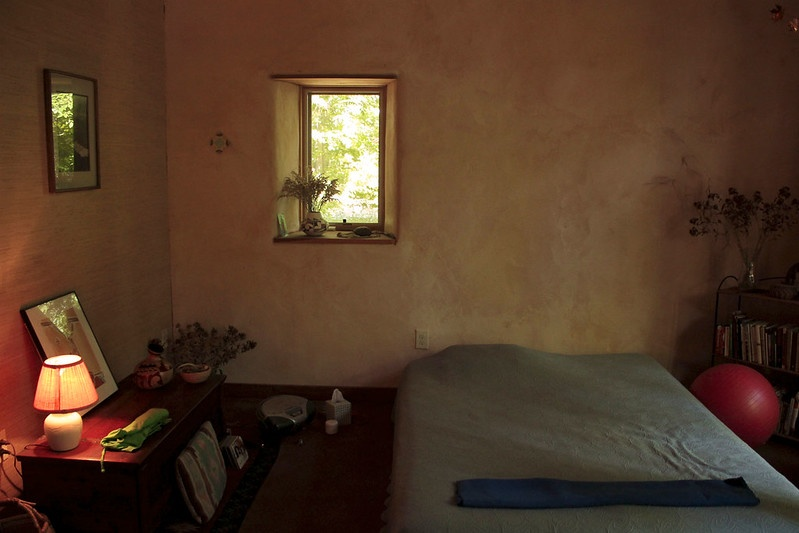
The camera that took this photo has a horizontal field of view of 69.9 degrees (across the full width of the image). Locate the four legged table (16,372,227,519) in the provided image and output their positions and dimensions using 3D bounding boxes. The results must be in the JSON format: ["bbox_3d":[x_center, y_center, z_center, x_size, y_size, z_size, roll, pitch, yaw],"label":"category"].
[{"bbox_3d":[-1.571,0.775,3.218,0.589,0.549,1.149,2,8,4],"label":"four legged table"}]

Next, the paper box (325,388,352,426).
[{"bbox_3d":[-0.457,1.063,4.324,0.204,0.244,0.233,-1,8,-7],"label":"paper box"}]

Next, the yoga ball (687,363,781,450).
[{"bbox_3d":[2.311,0.966,4.112,0.586,0.656,0.574,7,-10,1],"label":"yoga ball"}]

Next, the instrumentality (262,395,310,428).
[{"bbox_3d":[-0.848,1.079,4.188,0.343,0.179,0.260,-6,10,-36],"label":"instrumentality"}]

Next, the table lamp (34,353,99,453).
[{"bbox_3d":[-1.784,0.735,3.040,0.236,0.482,0.251,8,11,42],"label":"table lamp"}]

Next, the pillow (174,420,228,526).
[{"bbox_3d":[-1.159,1.257,3.389,0.099,0.400,0.400,-11,17,15],"label":"pillow"}]

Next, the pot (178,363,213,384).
[{"bbox_3d":[-1.336,0.686,3.704,0.154,0.081,0.136,4,-1,-39],"label":"pot"}]

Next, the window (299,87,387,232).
[{"bbox_3d":[-0.472,-0.921,4.780,0.699,1.088,0.087,2,9,8],"label":"window"}]
